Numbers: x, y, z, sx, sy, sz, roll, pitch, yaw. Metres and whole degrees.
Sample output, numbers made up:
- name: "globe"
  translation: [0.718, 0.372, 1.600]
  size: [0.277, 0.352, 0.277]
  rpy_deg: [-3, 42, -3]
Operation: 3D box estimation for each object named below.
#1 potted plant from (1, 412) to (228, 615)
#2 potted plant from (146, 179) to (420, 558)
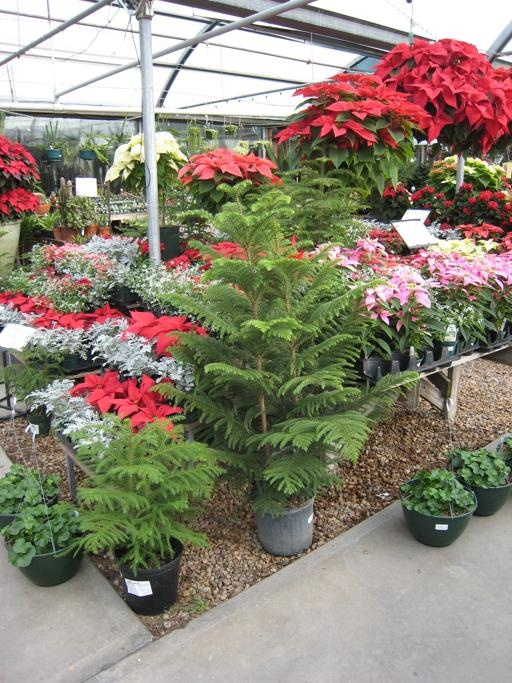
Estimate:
- name: "potted plant"
  translation: [-0.565, 0.576, 1.873]
  size: [0.801, 0.601, 0.741]
  rpy_deg: [-1, 11, -11]
- name: "potted plant"
  translation: [0.081, 0.178, 2.005]
  size: [0.863, 1.455, 0.790]
  rpy_deg: [3, 17, 23]
